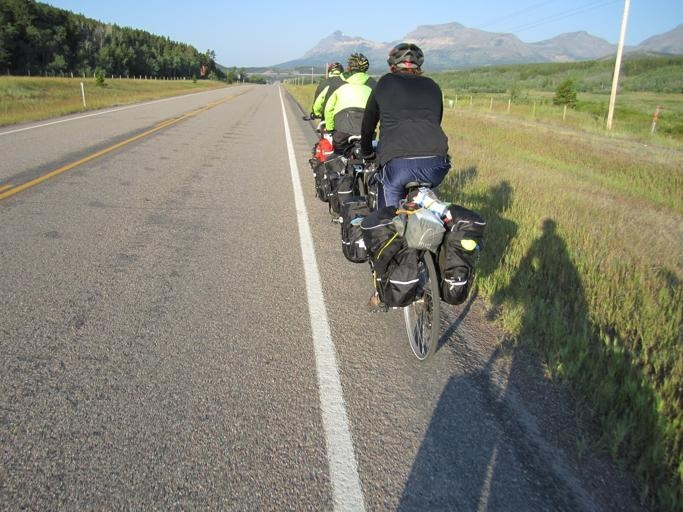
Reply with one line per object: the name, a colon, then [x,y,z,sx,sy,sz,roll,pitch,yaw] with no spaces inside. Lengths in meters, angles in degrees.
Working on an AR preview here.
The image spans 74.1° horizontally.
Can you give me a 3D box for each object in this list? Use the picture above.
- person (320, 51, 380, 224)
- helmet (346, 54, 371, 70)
person: [0.061,-1.858,6.718,0.905,1.391,2.461,2,48,-7]
helmet: [0.234,-2.916,6.816,0.269,0.291,0.324,7,9,14]
